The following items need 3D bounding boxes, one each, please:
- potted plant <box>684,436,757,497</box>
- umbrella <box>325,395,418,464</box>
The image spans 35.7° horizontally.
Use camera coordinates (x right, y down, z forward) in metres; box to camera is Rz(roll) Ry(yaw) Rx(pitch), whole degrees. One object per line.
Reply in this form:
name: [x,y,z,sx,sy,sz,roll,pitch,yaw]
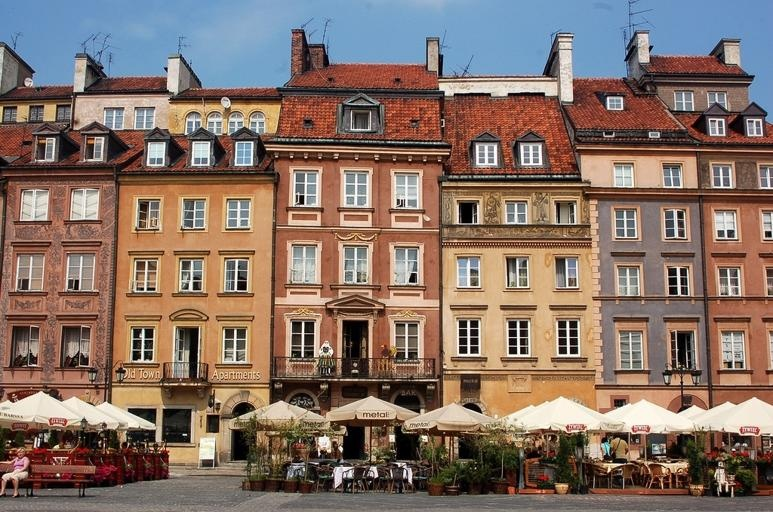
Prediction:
potted plant: [16.867,10.607,60.700,3.179,2.834,1.380,-5,-17,12]
umbrella: [-0.502,8.481,65.298,5.131,3.826,3.515,-6,-7,21]
